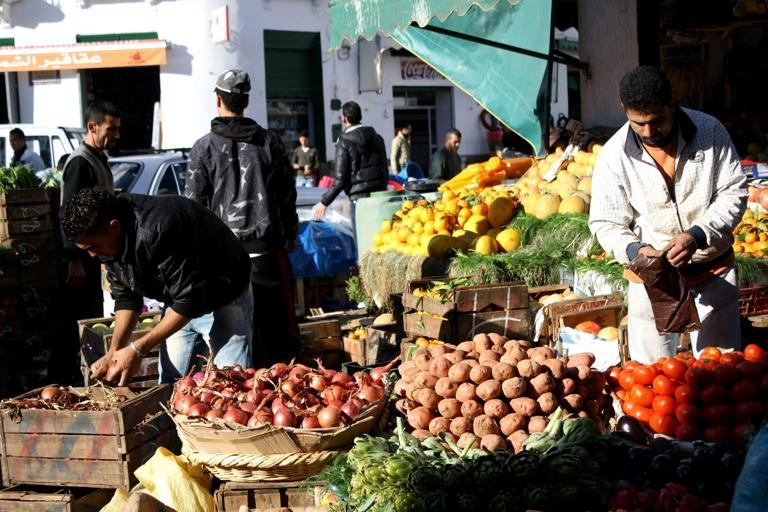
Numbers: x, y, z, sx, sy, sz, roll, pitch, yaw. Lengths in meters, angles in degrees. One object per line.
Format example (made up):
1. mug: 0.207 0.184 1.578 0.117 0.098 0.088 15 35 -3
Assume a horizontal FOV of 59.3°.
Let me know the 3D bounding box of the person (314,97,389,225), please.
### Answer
1. person: -0.419 -1.206 8.671 0.668 1.791 0.591 1 2 40

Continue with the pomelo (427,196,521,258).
1. pomelo: 0.908 -0.298 6.888 0.917 0.556 0.762 1 8 9

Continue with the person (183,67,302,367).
1. person: -1.047 -0.139 5.506 0.861 1.288 2.337 9 -38 3
